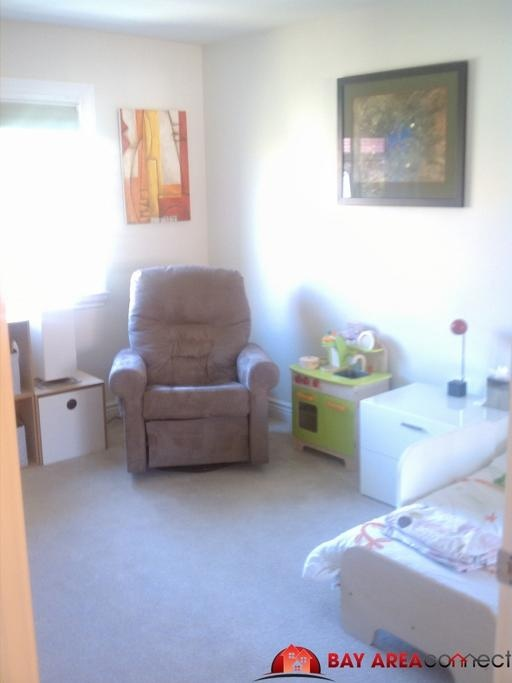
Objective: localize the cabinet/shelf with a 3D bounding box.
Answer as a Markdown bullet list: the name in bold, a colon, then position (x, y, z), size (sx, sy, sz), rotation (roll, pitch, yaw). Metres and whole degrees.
- **cabinet/shelf**: position (-1.065, 0.466, 3.224), size (0.391, 0.429, 0.111), rotation (-5, 10, -26)

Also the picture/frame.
- **picture/frame**: position (0.748, -1.062, 2.827), size (0.030, 0.706, 0.734), rotation (-11, 15, -38)

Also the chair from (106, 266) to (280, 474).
- **chair**: position (-0.341, 0.129, 3.240), size (0.871, 1.093, 0.738), rotation (-2, 9, -5)
